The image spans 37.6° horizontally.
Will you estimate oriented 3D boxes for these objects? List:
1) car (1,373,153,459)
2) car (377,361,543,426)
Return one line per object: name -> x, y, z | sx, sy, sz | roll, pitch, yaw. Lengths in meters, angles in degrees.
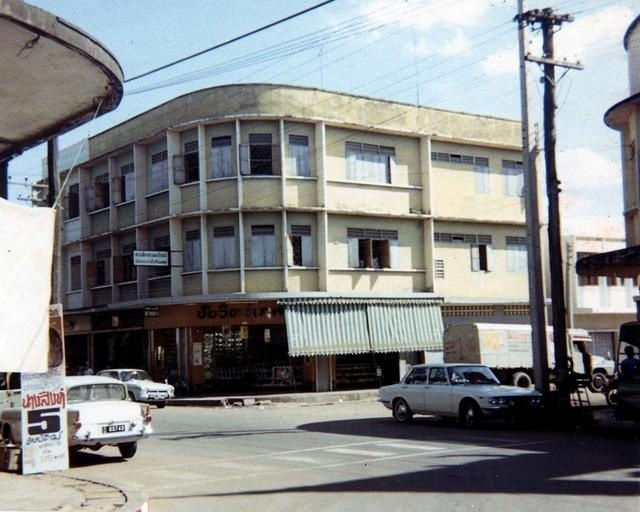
car -> -5.382, 3.686, 20.901 | 1.767, 1.392, 3.026 | 3, -2, -42
car -> 3.640, 3.669, 24.955 | 1.667, 1.184, 3.531 | 4, -10, -35
